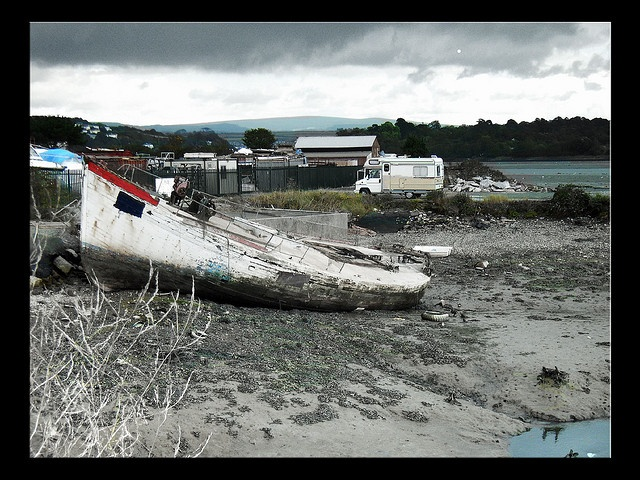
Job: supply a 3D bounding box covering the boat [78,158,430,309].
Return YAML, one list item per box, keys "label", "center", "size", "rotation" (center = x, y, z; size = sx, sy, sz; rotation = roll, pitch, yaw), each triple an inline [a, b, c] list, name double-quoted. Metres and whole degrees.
- label: "boat"
  center: [-1.467, 0.330, 12.669]
  size: [6.748, 2.414, 3.664]
  rotation: [8, 9, -18]

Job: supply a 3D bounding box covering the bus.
- label: "bus"
  center: [5.004, -3.895, 35.346]
  size: [5.313, 2.522, 2.513]
  rotation: [3, 6, 26]
